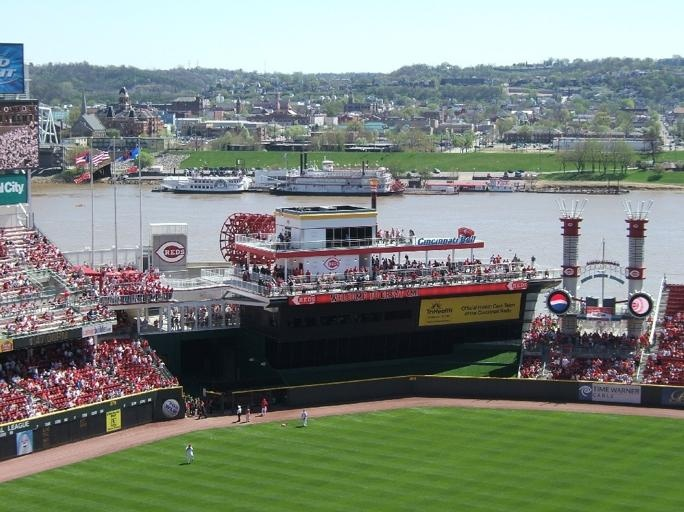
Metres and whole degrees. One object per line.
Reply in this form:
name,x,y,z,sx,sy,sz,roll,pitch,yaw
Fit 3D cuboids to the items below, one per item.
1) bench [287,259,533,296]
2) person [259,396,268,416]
bench,4.887,1.207,85.810,13.719,1.730,1.069,-3,-3,-9
person,-4.146,8.084,78.324,0.440,0.494,0.865,3,16,1
